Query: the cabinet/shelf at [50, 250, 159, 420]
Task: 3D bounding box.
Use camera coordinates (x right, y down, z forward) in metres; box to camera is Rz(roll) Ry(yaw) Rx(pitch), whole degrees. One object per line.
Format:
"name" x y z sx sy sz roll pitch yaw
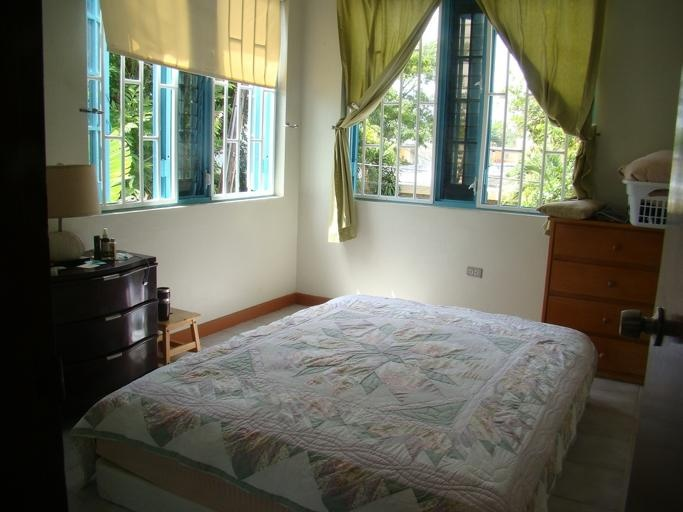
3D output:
"cabinet/shelf" -1.573 0.491 2.990 0.464 0.826 0.812 1 6 22

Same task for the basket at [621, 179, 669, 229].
"basket" 2.164 -0.367 3.382 0.269 0.347 0.284 11 17 37

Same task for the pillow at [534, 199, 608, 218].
"pillow" 1.874 -0.366 3.767 0.526 0.121 0.288 -4 14 -20
